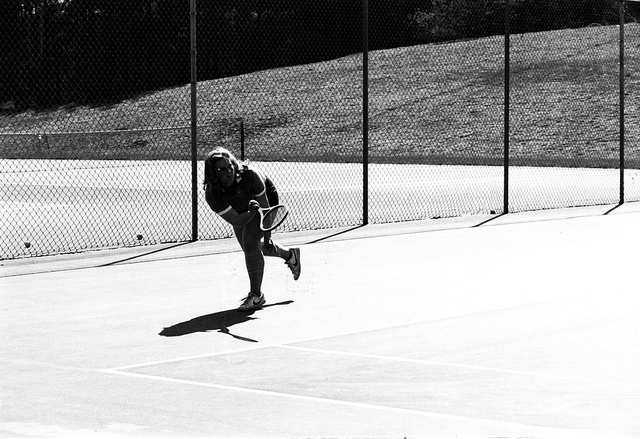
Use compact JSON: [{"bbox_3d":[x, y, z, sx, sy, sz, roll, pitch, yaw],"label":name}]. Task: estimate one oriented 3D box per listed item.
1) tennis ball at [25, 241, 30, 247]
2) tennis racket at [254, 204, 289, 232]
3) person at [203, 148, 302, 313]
[{"bbox_3d":[-4.223,0.349,12.167,0.096,0.081,0.107,0,7,1],"label":"tennis ball"},{"bbox_3d":[-0.544,-0.092,9.978,0.624,0.049,0.275,42,8,34],"label":"tennis racket"},{"bbox_3d":[-0.754,0.057,9.090,0.942,1.681,0.959,-1,8,-4],"label":"person"}]
